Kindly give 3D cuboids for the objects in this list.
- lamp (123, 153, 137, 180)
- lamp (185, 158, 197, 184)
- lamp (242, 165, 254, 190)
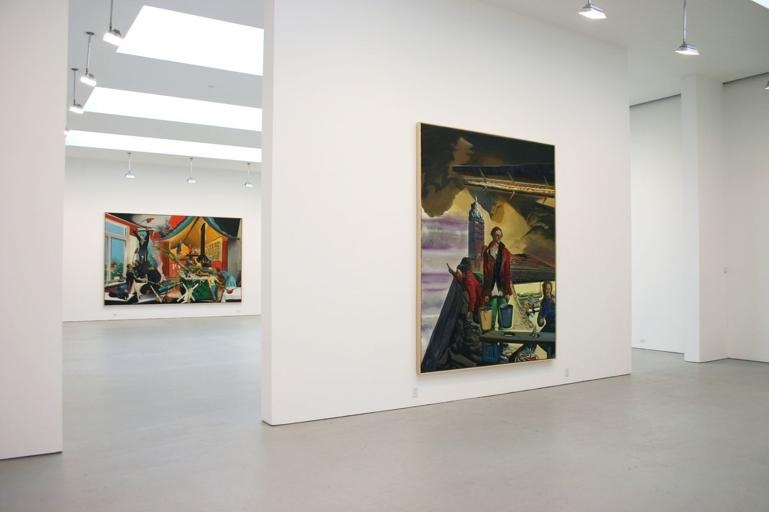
[{"bbox_3d":[-9.591,-3.306,18.903,0.337,0.773,1.325,-2,4,-27],"label":"lamp"},{"bbox_3d":[-7.608,-3.274,19.870,0.341,0.792,1.007,-1,4,-21],"label":"lamp"},{"bbox_3d":[-5.635,-3.234,20.822,0.432,0.817,1.385,-1,4,-16],"label":"lamp"}]
